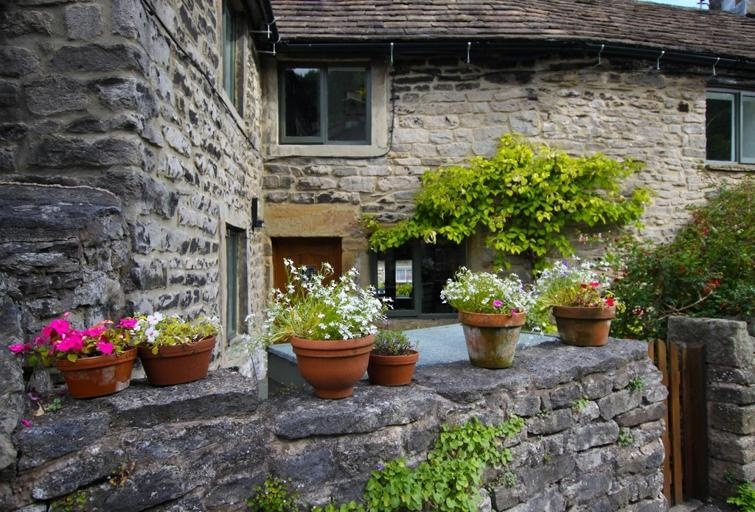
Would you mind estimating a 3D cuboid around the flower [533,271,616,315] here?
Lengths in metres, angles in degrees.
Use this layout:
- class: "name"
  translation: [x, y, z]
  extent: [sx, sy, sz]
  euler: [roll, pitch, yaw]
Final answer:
- class: "flower"
  translation: [1.724, 0.269, 5.202]
  extent: [0.457, 0.269, 0.476]
  euler: [12, 11, 27]

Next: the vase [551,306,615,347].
- class: "vase"
  translation: [1.762, 0.586, 4.965]
  extent: [0.367, 0.259, 0.382]
  euler: [-4, -3, 27]

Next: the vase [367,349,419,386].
- class: "vase"
  translation: [0.105, 0.803, 4.087]
  extent: [0.251, 0.145, 0.262]
  euler: [-2, -5, 24]

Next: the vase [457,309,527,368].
- class: "vase"
  translation: [0.905, 0.627, 4.577]
  extent: [0.533, 0.447, 0.566]
  euler: [-1, 5, 1]

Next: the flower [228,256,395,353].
- class: "flower"
  translation: [-0.423, 0.364, 4.104]
  extent: [0.893, 0.656, 0.641]
  euler: [2, 5, 28]

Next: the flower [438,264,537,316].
- class: "flower"
  translation: [0.775, 0.302, 4.598]
  extent: [0.488, 0.297, 0.453]
  euler: [-8, -5, -3]

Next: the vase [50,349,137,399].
- class: "vase"
  translation: [-1.793, 0.740, 3.740]
  extent: [0.471, 0.256, 0.503]
  euler: [-4, 3, 12]

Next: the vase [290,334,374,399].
- class: "vase"
  translation: [-0.296, 0.724, 3.804]
  extent: [0.422, 0.326, 0.433]
  euler: [3, -5, -28]
